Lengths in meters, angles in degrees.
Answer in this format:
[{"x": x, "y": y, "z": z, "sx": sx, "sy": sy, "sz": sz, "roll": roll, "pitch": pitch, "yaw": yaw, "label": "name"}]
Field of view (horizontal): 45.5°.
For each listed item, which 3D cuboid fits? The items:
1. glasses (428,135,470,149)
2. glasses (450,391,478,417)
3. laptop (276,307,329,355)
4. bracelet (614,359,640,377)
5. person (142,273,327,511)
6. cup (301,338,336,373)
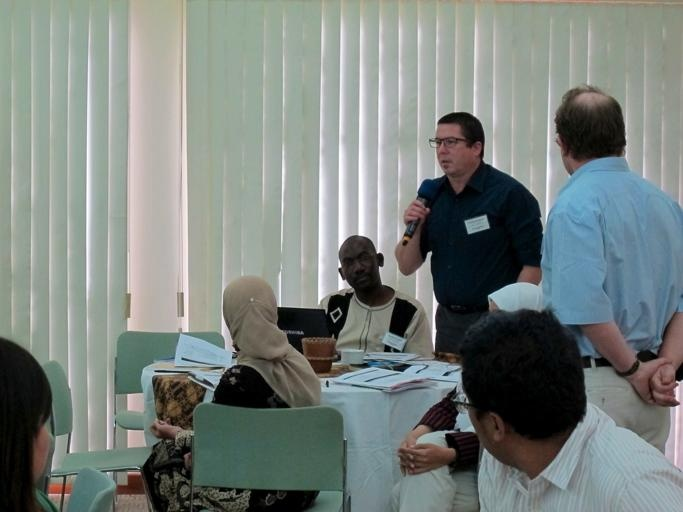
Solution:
[{"x": 0.599, "y": -0.627, "z": 4.484, "sx": 0.178, "sy": 0.053, "sz": 0.076, "roll": -5, "pitch": 0, "yaw": 32, "label": "glasses"}, {"x": 0.444, "y": 0.536, "z": 2.974, "sx": 0.032, "sy": 0.121, "sz": 0.102, "roll": -33, "pitch": 47, "yaw": -31, "label": "glasses"}, {"x": -0.207, "y": 0.356, "z": 4.270, "sx": 0.240, "sy": 0.226, "sz": 0.205, "roll": 1, "pitch": -12, "yaw": 12, "label": "laptop"}, {"x": 1.162, "y": 0.453, "z": 3.295, "sx": 0.074, "sy": 0.023, "sz": 0.070, "roll": -49, "pitch": 11, "yaw": -33, "label": "bracelet"}, {"x": -0.515, "y": 0.615, "z": 3.604, "sx": 0.788, "sy": 0.977, "sz": 0.523, "roll": -3, "pitch": 1, "yaw": 24, "label": "person"}, {"x": -0.121, "y": 0.488, "z": 3.988, "sx": 0.128, "sy": 0.153, "sz": 0.148, "roll": -1, "pitch": -4, "yaw": 2, "label": "cup"}]
